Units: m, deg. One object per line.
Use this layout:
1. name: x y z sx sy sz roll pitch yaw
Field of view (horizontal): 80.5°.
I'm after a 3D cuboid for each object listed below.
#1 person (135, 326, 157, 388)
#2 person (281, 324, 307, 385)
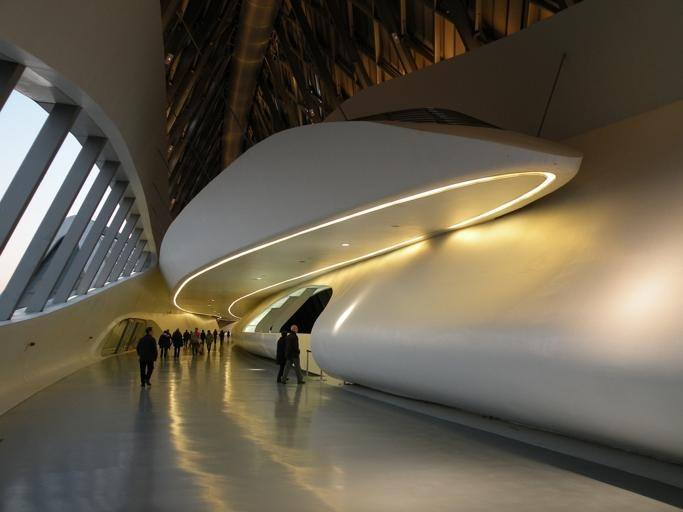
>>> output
1. person: -4.877 2.456 10.029 0.411 1.494 1.815 6 -6 -24
2. person: -1.227 2.499 10.320 0.549 1.507 0.850 5 -5 -8
